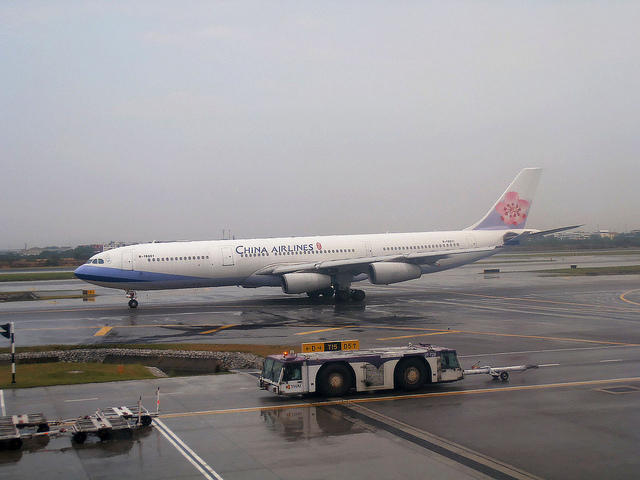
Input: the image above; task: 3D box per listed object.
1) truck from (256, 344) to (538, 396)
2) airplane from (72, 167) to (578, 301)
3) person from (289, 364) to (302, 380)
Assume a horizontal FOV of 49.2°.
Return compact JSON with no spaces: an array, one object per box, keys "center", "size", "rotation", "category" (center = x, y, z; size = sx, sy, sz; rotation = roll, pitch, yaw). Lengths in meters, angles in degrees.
[{"center":[3.339,5.591,30.755],"size":[13.939,1.402,2.532],"rotation":[0,-2,-17],"category":"truck"},{"center":[1.552,-0.216,59.500],"size":[43.456,11.484,11.034],"rotation":[-2,7,-11],"category":"airplane"},{"center":[-1.038,5.496,28.920],"size":[0.525,0.585,0.206],"rotation":[-1,8,-3],"category":"person"}]
